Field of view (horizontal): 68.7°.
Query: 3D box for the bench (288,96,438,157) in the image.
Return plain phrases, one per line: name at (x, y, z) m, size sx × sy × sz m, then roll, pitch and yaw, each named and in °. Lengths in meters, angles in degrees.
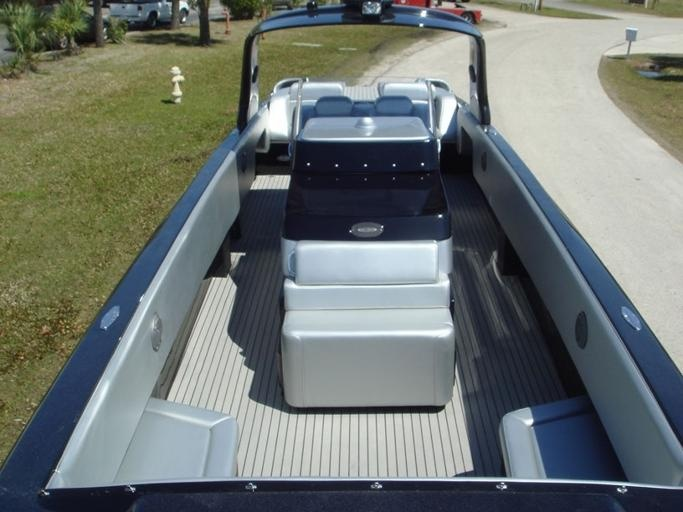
bench at (0.157, -0.857, 3.287) m, size 0.827 × 0.246 × 1.078 m, roll -1°, pitch 35°, yaw 3°
